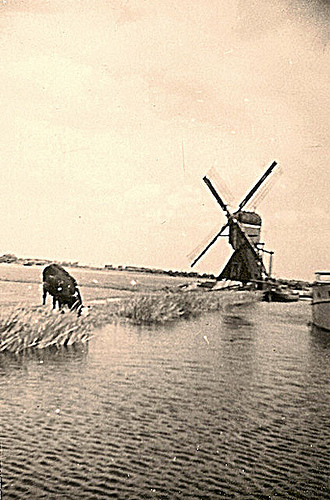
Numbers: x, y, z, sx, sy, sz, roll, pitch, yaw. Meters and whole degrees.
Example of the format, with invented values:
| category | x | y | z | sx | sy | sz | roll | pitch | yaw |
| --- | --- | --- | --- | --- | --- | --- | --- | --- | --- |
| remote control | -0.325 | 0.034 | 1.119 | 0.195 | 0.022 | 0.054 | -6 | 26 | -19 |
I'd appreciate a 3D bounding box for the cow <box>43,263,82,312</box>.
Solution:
| category | x | y | z | sx | sy | sz | roll | pitch | yaw |
| --- | --- | --- | --- | --- | --- | --- | --- | --- | --- |
| cow | -1.615 | 0.575 | 7.838 | 0.373 | 0.713 | 0.916 | 6 | 5 | 25 |
